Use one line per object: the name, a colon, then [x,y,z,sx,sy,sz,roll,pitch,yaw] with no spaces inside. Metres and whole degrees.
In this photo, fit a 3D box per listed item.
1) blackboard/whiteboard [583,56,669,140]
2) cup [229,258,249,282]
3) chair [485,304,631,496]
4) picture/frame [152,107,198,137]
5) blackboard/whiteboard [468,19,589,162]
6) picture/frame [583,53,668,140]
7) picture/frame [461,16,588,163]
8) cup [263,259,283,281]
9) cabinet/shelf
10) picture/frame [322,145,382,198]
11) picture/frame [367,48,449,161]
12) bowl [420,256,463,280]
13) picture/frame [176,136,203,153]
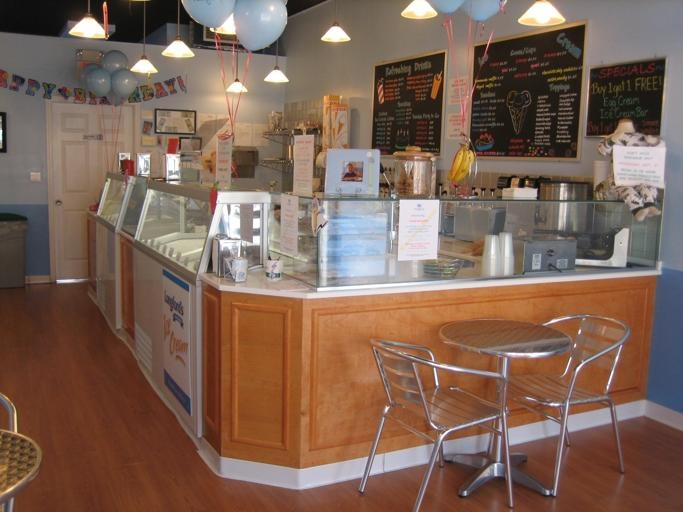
blackboard/whiteboard: [2.267,-1.254,4.331,0.049,0.698,0.719,-3,9,-26]
cup: [-0.636,0.073,3.386,0.125,0.229,0.128,0,7,0]
chair: [1.399,0.897,3.866,0.987,1.322,1.029,-3,6,-20]
picture/frame: [-2.510,-2.016,8.210,0.472,0.334,0.023,0,8,-23]
blackboard/whiteboard: [1.736,-1.495,5.214,0.039,1.193,1.230,-6,12,-36]
picture/frame: [2.263,-1.262,4.335,0.052,0.722,0.744,-3,9,-26]
picture/frame: [1.737,-1.543,5.092,0.055,1.505,1.550,-3,8,-29]
cup: [-0.433,0.088,3.513,0.113,0.146,0.116,0,3,0]
cabinet/shelf: [-0.535,-1.478,7.896,0.411,1.416,1.402,0,9,-40]
picture/frame: [0.066,-0.501,3.288,0.327,0.276,0.220,1,11,-1]
picture/frame: [0.773,-1.747,6.570,0.039,1.181,1.129,-6,12,-42]
bowl: [0.643,0.055,3.522,0.198,0.071,0.147,-8,11,-43]
picture/frame: [-2.268,-1.703,8.335,0.360,0.243,0.095,-4,12,-25]
